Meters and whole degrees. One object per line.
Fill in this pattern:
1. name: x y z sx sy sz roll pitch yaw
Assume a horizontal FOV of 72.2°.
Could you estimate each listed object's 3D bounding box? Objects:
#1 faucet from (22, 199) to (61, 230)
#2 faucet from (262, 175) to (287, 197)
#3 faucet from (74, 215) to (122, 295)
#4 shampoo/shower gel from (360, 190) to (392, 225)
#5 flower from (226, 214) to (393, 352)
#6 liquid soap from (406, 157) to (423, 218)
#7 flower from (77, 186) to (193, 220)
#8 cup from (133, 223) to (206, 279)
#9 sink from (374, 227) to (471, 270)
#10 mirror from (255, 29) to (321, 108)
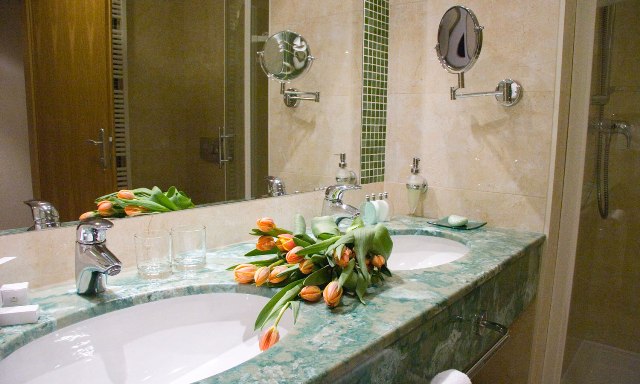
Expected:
1. faucet: -0.968 0.079 1.523 0.110 0.100 0.073 -3 11 -32
2. faucet: -0.212 -0.025 2.036 0.096 0.088 0.069 2 5 37
3. faucet: -0.756 0.215 1.469 0.218 0.263 0.081 2 10 32
4. shampoo/shower gel: 0.272 0.071 2.237 0.128 0.203 0.210 7 14 30
5. flower: -0.044 0.262 1.593 0.514 0.261 0.768 -27 15 -33
6. liquid soap: 0.525 -0.026 2.403 0.110 0.320 0.077 -2 9 14
7. flower: -0.684 0.037 1.676 0.150 0.062 0.210 18 24 27
8. cup: -0.556 0.219 1.640 0.252 0.170 0.100 -6 9 -19
9. sink: 0.506 0.286 2.130 0.223 0.081 0.226 -15 10 -2
10. mirror: -0.165 -0.573 2.036 0.399 0.443 0.192 -3 18 -9
